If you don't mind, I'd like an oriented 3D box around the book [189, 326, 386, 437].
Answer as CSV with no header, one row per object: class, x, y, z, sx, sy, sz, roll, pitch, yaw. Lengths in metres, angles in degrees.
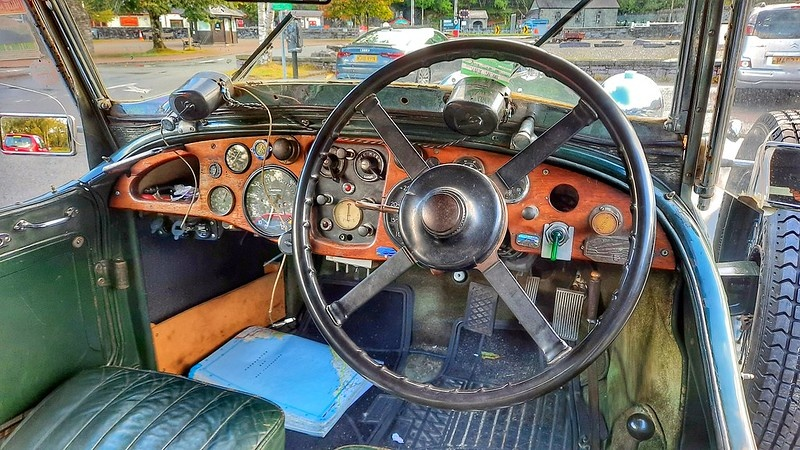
book,-0.710,0.954,3.284,0.644,0.150,0.656,16,22,25
